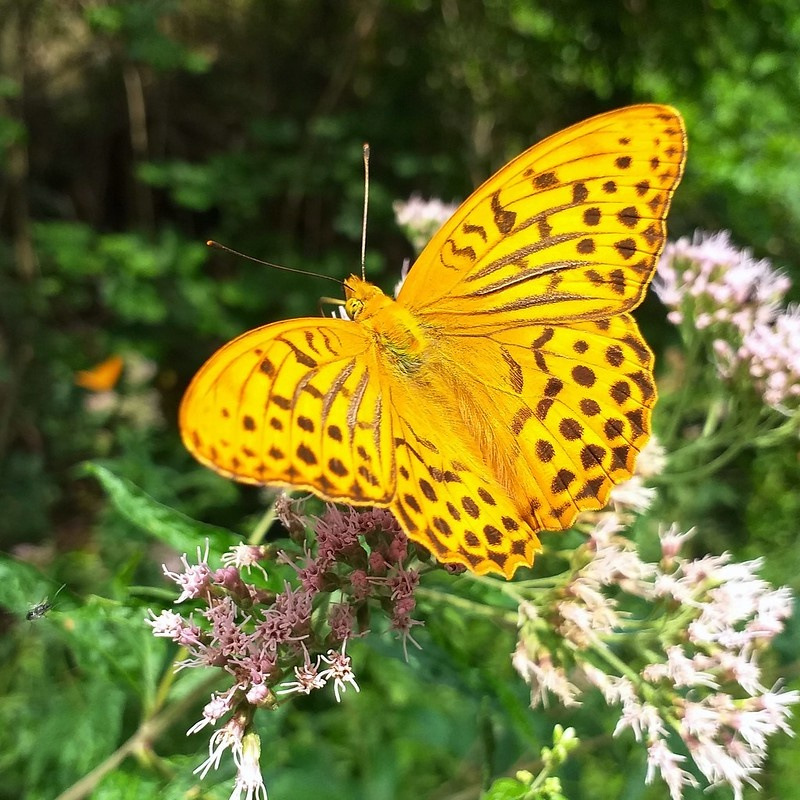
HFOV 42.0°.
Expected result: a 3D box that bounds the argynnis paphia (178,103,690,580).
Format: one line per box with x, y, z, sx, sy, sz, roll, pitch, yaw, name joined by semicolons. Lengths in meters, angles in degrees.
0.282;-0.264;3.679;1.896;1.548;1.440;-1;107;-4;argynnis paphia
